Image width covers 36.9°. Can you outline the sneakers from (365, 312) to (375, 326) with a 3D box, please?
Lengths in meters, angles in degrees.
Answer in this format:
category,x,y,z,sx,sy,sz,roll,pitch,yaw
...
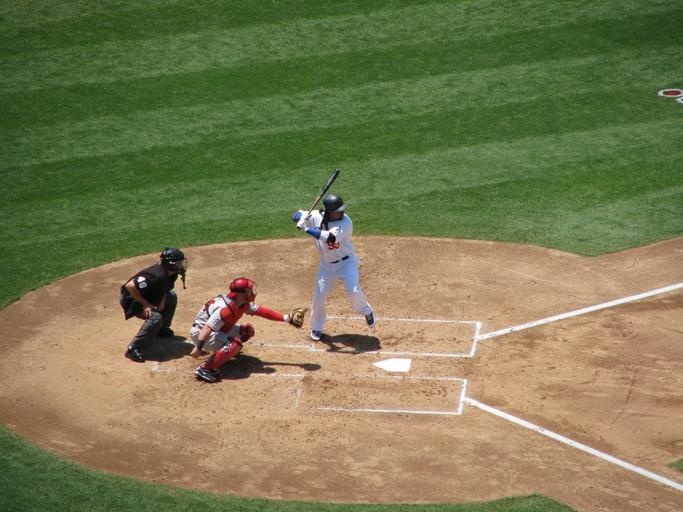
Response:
category,x,y,z,sx,sy,sz,roll,pitch,yaw
sneakers,0.564,1.228,20.053,0.145,0.135,0.281,-10,83,13

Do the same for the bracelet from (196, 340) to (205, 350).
category,x,y,z,sx,sy,sz,roll,pitch,yaw
bracelet,-2.548,1.637,18.943,0.189,0.171,0.147,4,76,1

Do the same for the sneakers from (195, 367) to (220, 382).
category,x,y,z,sx,sy,sz,roll,pitch,yaw
sneakers,-2.437,2.199,19.030,0.556,0.205,0.184,3,41,6

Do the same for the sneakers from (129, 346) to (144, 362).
category,x,y,z,sx,sy,sz,roll,pitch,yaw
sneakers,-3.859,1.854,19.405,0.364,0.140,0.187,40,75,0

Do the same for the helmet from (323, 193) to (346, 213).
category,x,y,z,sx,sy,sz,roll,pitch,yaw
helmet,-0.140,-1.012,19.546,0.392,0.272,0.384,-16,60,-4

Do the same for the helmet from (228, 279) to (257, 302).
category,x,y,z,sx,sy,sz,roll,pitch,yaw
helmet,-1.775,0.599,19.291,0.591,0.378,0.418,-9,28,-21

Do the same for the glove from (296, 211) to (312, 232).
category,x,y,z,sx,sy,sz,roll,pitch,yaw
glove,-0.703,-0.687,19.888,0.193,0.215,0.455,-17,42,40

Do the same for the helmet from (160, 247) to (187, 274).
category,x,y,z,sx,sy,sz,roll,pitch,yaw
helmet,-3.225,0.077,19.557,0.623,0.471,0.440,-4,103,-7
